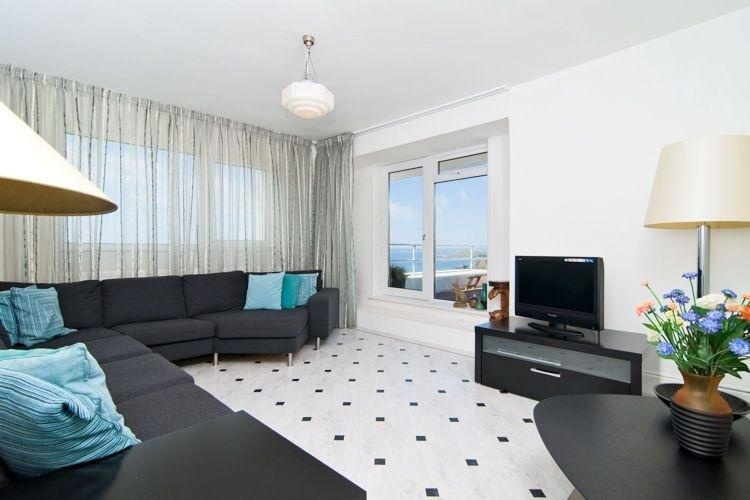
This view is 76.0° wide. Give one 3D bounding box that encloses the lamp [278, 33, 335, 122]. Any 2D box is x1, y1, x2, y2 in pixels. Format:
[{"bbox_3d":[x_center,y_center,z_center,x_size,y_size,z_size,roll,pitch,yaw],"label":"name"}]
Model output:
[{"bbox_3d":[-0.589,-1.583,4.232,0.408,0.544,0.389,5,17,5],"label":"lamp"}]
